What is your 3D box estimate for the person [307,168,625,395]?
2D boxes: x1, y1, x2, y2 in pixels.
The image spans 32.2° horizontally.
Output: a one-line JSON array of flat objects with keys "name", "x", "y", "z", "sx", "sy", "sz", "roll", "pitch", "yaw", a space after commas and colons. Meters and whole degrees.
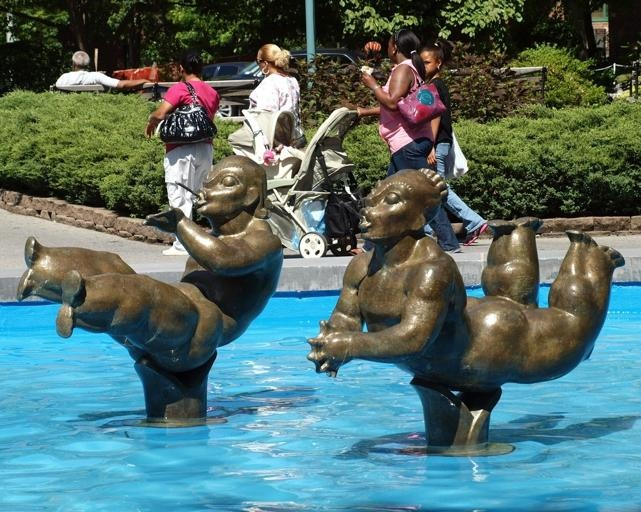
[{"name": "person", "x": 0.652, "y": 0.154, "z": 4.912, "sx": 1.444, "sy": 1.038, "sz": 0.599, "roll": -1, "pitch": 11, "yaw": -4}]

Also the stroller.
[{"name": "stroller", "x": -0.383, "y": -0.695, "z": 10.503, "sx": 1.571, "sy": 1.571, "sz": 1.036, "roll": 6, "pitch": 12, "yaw": 19}]

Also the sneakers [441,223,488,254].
[{"name": "sneakers", "x": 1.363, "y": -0.150, "z": 10.247, "sx": 0.459, "sy": 0.186, "sz": 0.153, "roll": -27, "pitch": 14, "yaw": 17}]

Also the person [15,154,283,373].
[{"name": "person", "x": -0.840, "y": 0.066, "z": 5.553, "sx": 1.394, "sy": 1.022, "sz": 0.894, "roll": 2, "pitch": 2, "yaw": -30}]

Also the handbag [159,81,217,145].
[{"name": "handbag", "x": -1.149, "y": -1.225, "z": 9.586, "sx": 0.509, "sy": 0.542, "sz": 0.276, "roll": -4, "pitch": 11, "yaw": -15}]

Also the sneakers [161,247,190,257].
[{"name": "sneakers", "x": -1.258, "y": -0.026, "z": 9.631, "sx": 0.314, "sy": 0.120, "sz": 0.105, "roll": 3, "pitch": 2, "yaw": 30}]
